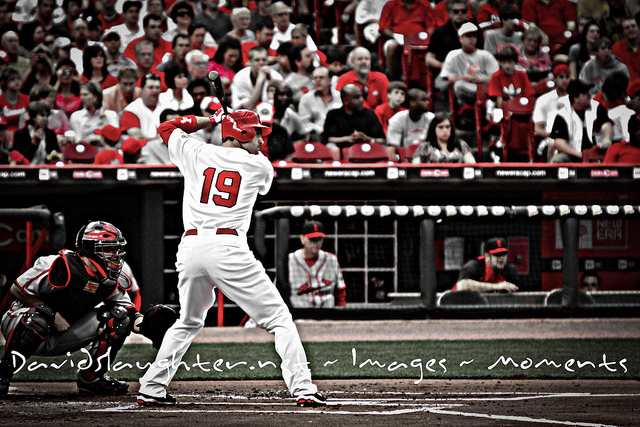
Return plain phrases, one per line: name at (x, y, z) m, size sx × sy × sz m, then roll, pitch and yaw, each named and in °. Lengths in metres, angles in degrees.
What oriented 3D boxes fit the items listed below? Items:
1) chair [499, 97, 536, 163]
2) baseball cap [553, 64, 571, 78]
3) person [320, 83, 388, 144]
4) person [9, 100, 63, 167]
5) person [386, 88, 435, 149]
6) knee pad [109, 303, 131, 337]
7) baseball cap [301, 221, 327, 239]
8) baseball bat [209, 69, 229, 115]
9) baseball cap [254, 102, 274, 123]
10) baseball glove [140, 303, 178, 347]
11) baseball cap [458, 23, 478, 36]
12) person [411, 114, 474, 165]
chair at (3.203, -1.355, 20.114) m, size 0.564 × 0.951 × 0.596 m, roll 1°, pitch 12°, yaw 5°
baseball cap at (4.054, -2.396, 20.815) m, size 0.263 × 0.211 × 0.269 m, roll 2°, pitch -6°, yaw -1°
person at (0.557, -1.543, 19.597) m, size 1.011 × 0.917 × 0.490 m, roll 1°, pitch 12°, yaw 2°
person at (-4.449, -1.246, 19.538) m, size 0.847 × 0.905 × 0.694 m, roll -1°, pitch 12°, yaw -3°
person at (1.433, -1.475, 19.810) m, size 0.463 × 0.767 × 0.862 m, roll 11°, pitch 15°, yaw 42°
knee pad at (-2.479, 1.336, 15.591) m, size 0.234 × 0.378 × 0.134 m, roll -8°, pitch -1°, yaw -17°
baseball cap at (-0.082, 0.224, 17.907) m, size 0.316 × 0.212 × 0.240 m, roll 0°, pitch 13°, yaw -2°
baseball bat at (-1.270, -1.540, 15.488) m, size 0.142 × 0.744 × 0.112 m, roll -6°, pitch 44°, yaw 17°
baseball cap at (-0.876, -1.597, 19.820) m, size 0.311 × 0.264 × 0.592 m, roll -1°, pitch 13°, yaw -3°
baseball glove at (-2.051, 1.343, 15.582) m, size 0.362 × 0.502 × 0.396 m, roll 25°, pitch -17°, yaw -19°
baseball cap at (2.527, -3.081, 20.971) m, size 0.341 × 0.196 × 0.347 m, roll 0°, pitch 13°, yaw -1°
person at (1.885, -1.081, 19.342) m, size 1.194 × 0.992 × 0.686 m, roll -2°, pitch 6°, yaw -13°
